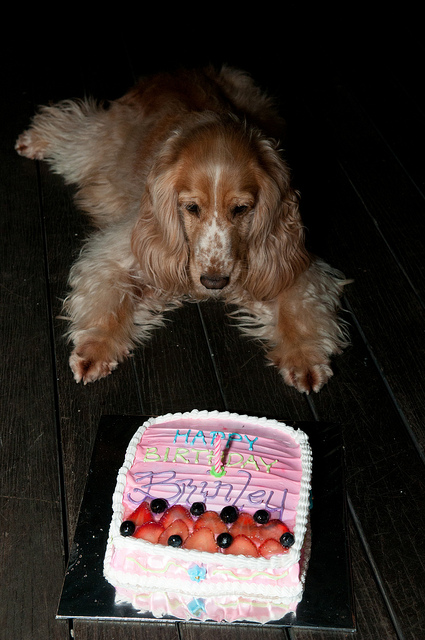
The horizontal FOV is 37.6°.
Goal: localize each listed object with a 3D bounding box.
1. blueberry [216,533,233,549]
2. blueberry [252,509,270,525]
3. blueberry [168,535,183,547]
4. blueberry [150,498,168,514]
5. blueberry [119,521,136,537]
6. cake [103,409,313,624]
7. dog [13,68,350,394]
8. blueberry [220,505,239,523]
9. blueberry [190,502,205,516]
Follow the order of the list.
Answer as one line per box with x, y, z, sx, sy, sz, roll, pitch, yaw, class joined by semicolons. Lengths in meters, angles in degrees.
0.025;0.481;1.367;0.031;0.017;0.032;43;92;-11;blueberry
0.111;0.443;1.405;0.030;0.030;0.023;27;66;37;blueberry
-0.083;0.485;1.370;0.031;0.016;0.025;-3;47;-6;blueberry
-0.123;0.426;1.426;0.034;0.020;0.032;7;84;1;blueberry
-0.192;0.468;1.399;0.034;0.022;0.031;-25;53;-24;blueberry
-0.006;0.473;1.455;0.472;0.169;0.439;0;43;-3;cake
-0.075;-0.482;2.354;1.104;0.650;1.664;-11;48;-12;dog
0.038;0.438;1.411;0.030;0.038;0.029;-6;85;1;blueberry
-0.035;0.431;1.424;0.028;0.016;0.027;-11;90;-1;blueberry
